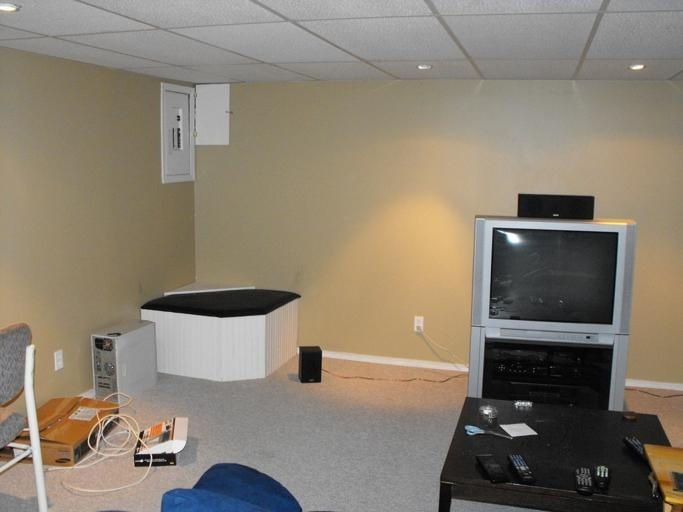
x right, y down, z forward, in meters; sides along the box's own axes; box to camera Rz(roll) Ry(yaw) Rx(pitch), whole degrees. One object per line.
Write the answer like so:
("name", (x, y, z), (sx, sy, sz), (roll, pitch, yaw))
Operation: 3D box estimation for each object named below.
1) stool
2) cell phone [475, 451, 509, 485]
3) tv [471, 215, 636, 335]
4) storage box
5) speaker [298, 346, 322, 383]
("stool", (-1.127, 0.691, 4.894), (0.925, 0.491, 0.940), (2, 6, 22))
("cell phone", (0.782, 1.104, 2.750), (0.129, 0.044, 0.205), (1, 12, -4))
("tv", (1.533, 0.154, 4.108), (1.162, 0.848, 0.645), (2, 4, 3))
("storage box", (-1.887, 1.169, 3.665), (0.339, 0.120, 0.465), (3, 10, 0))
("speaker", (-0.290, 0.966, 4.811), (0.217, 0.302, 0.229), (0, 12, -4))
